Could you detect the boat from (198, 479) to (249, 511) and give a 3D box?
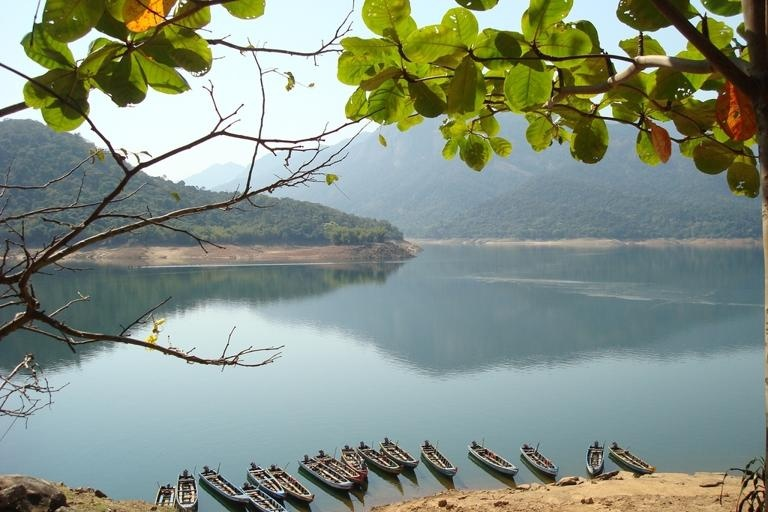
[{"bbox_3d":[-5.576,8.136,20.816,0.650,0.459,2.804,9,1,-35],"label":"boat"}]

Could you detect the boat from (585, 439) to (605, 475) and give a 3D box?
[{"bbox_3d":[8.055,7.716,22.785,0.600,0.520,2.415,-7,5,21],"label":"boat"}]

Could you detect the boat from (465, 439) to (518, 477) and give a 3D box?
[{"bbox_3d":[4.139,7.784,22.548,0.561,0.430,2.121,2,7,-28],"label":"boat"}]

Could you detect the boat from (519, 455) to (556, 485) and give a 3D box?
[{"bbox_3d":[5.791,7.902,22.120,0.975,0.742,1.864,-4,-17,-1],"label":"boat"}]

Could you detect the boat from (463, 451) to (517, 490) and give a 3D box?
[{"bbox_3d":[4.084,7.857,22.297,0.556,0.394,1.992,4,10,-28],"label":"boat"}]

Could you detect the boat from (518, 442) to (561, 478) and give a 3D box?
[{"bbox_3d":[5.874,7.791,22.590,0.477,0.431,1.539,0,9,-15],"label":"boat"}]

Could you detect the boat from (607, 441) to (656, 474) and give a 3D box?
[{"bbox_3d":[9.200,7.628,22.183,0.687,0.528,2.055,-2,9,-16],"label":"boat"}]

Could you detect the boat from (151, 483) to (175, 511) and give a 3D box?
[{"bbox_3d":[-7.340,8.064,20.083,0.716,0.504,1.411,10,20,-14],"label":"boat"}]
